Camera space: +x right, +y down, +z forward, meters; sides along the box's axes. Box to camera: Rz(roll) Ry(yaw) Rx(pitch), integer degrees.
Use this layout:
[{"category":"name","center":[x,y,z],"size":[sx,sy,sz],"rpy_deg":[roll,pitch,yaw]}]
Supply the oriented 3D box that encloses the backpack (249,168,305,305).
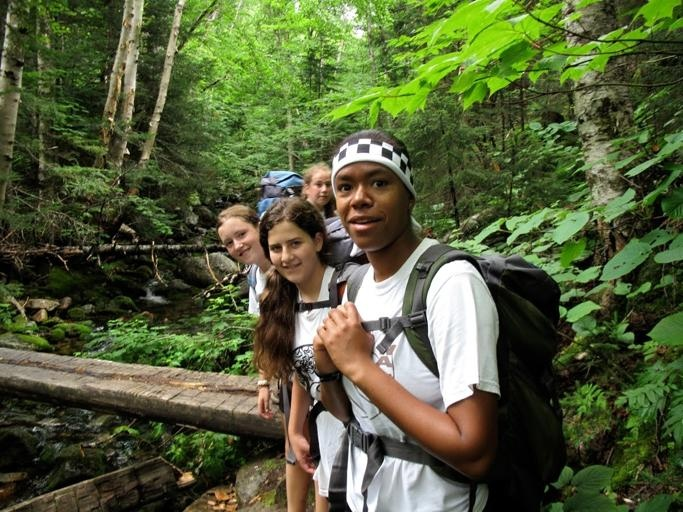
[{"category":"backpack","center":[-0.704,-0.482,5.465],"size":[0.492,0.884,0.638],"rpy_deg":[-8,-16,-6]}]

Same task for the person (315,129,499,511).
[{"category":"person","center":[0.371,0.408,2.882],"size":[1.094,2.354,0.492],"rpy_deg":[1,4,18]}]
